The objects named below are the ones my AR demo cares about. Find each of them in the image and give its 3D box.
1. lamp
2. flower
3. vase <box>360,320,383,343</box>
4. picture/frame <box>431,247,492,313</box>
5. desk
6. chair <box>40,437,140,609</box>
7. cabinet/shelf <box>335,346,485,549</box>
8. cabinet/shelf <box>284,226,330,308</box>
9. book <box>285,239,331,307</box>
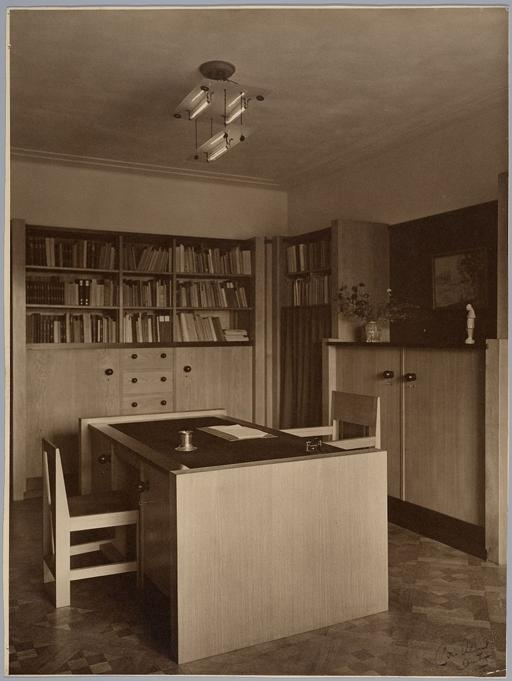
[{"bbox_3d":[-0.200,-1.225,3.100,0.278,0.400,0.396,-17,26,-39],"label":"lamp"},{"bbox_3d":[0.876,-0.260,4.476,0.368,0.234,0.340,5,4,39],"label":"flower"},{"bbox_3d":[0.826,-0.059,4.368,0.164,0.194,0.143,3,-5,-18],"label":"vase"},{"bbox_3d":[1.338,-0.390,3.812,0.029,0.339,0.421,-1,0,-24],"label":"picture/frame"},{"bbox_3d":[-0.171,0.748,2.476,1.227,0.698,0.912,-1,-1,44],"label":"desk"},{"bbox_3d":[-0.695,0.755,2.504,0.390,0.589,0.371,1,1,-44],"label":"chair"},{"bbox_3d":[0.859,0.586,3.137,0.296,1.007,0.953,1,-2,-26],"label":"cabinet/shelf"},{"bbox_3d":[0.513,-0.608,5.243,0.574,0.637,0.199,1,8,42],"label":"cabinet/shelf"},{"bbox_3d":[0.465,-0.602,5.205,0.190,0.627,0.803,0,-1,-17],"label":"book"}]
